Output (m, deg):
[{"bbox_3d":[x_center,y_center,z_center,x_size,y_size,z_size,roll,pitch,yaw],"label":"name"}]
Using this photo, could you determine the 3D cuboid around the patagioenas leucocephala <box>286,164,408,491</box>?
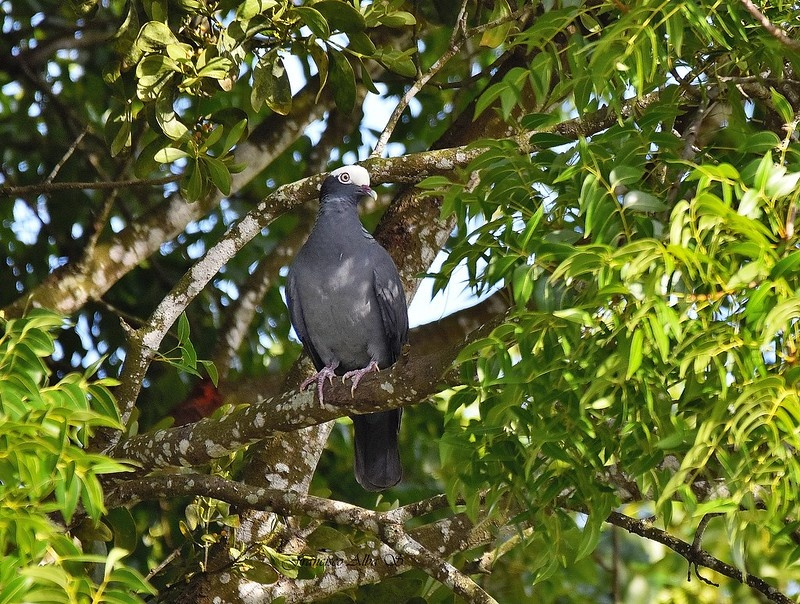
[{"bbox_3d":[-0.245,0.139,7.452,0.739,1.629,0.973,8,2,-11],"label":"patagioenas leucocephala"}]
